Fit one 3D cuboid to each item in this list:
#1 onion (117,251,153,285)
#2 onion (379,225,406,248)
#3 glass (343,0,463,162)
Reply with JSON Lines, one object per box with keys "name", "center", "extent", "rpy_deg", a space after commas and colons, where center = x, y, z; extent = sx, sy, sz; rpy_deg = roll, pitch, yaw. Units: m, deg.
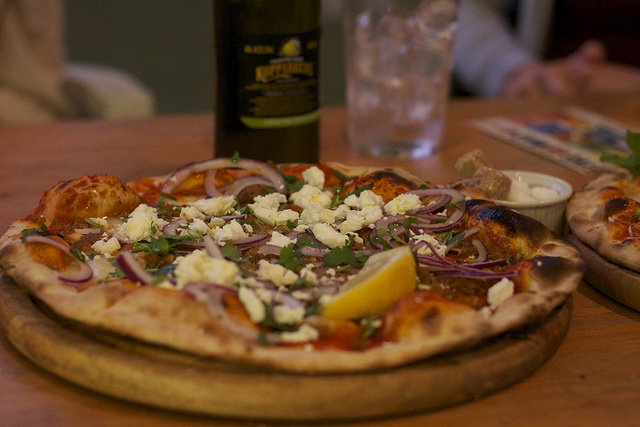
{"name": "onion", "center": [-0.320, 0.096, 1.082], "extent": [0.040, 0.076, 0.025], "rpy_deg": [-16, 28, 11]}
{"name": "onion", "center": [0.147, 0.052, 1.257], "extent": [0.040, 0.014, 0.048], "rpy_deg": [42, 59, 8]}
{"name": "glass", "center": [0.232, -0.396, 1.856], "extent": [0.326, 0.463, 0.219], "rpy_deg": [2, 34, 2]}
